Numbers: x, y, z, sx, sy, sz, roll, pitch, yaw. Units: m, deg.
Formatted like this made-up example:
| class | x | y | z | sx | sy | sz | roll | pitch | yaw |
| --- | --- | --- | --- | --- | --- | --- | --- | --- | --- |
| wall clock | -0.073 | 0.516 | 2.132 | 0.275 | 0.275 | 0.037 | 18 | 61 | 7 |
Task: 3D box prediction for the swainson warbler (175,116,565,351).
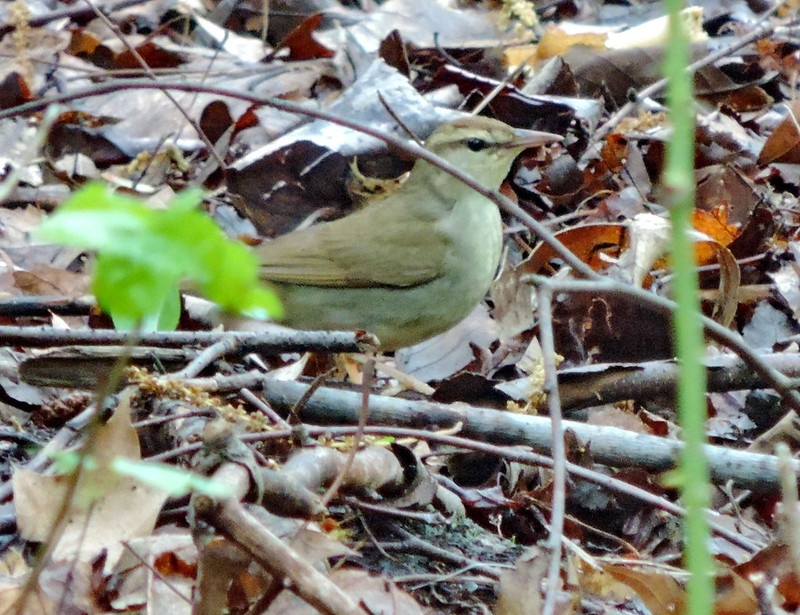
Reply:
| class | x | y | z | sx | sy | sz | roll | pitch | yaw |
| --- | --- | --- | --- | --- | --- | --- | --- | --- | --- |
| swainson warbler | 0.031 | -0.283 | 4.428 | 1.181 | 0.506 | 0.778 | -38 | 67 | -19 |
